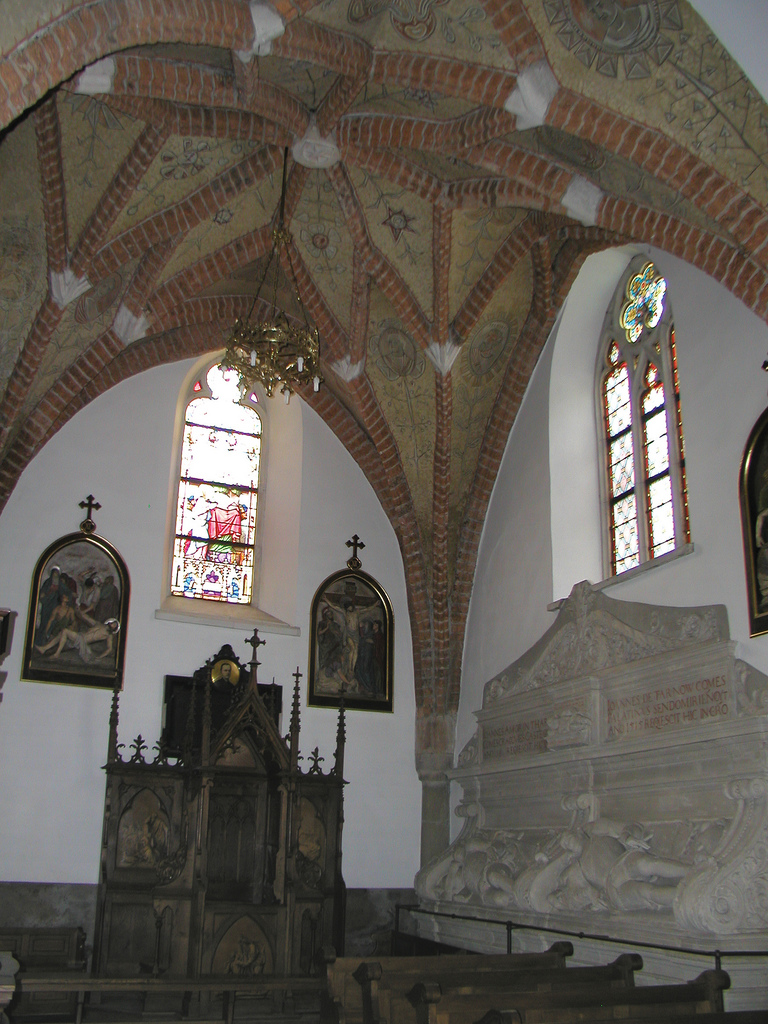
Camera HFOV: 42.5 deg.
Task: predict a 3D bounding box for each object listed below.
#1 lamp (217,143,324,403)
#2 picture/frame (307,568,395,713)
[{"bbox_3d":[-1.217,-2.660,10.472,1.008,2.963,0.973,17,-44,-13],"label":"lamp"},{"bbox_3d":[-0.407,1.616,12.527,1.186,1.836,0.136,13,-23,-29],"label":"picture/frame"}]
